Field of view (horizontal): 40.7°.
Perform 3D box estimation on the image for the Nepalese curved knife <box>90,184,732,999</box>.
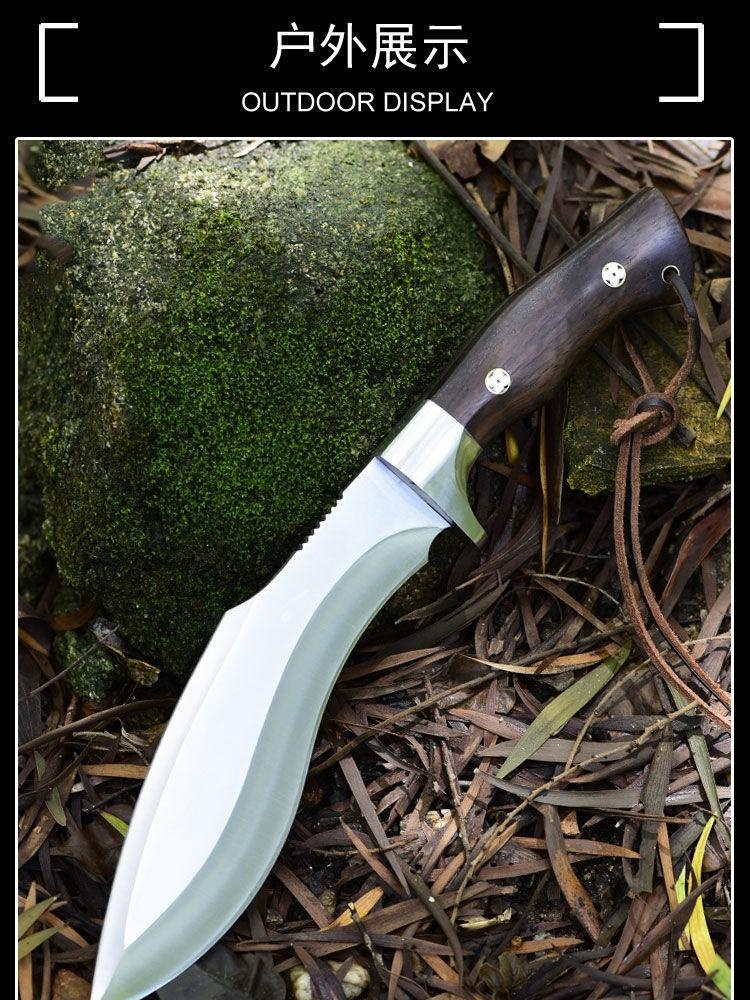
[{"bbox_3d":[0.008,0.116,1.351,0.267,0.169,1.265,40,82,2],"label":"Nepalese curved knife"}]
